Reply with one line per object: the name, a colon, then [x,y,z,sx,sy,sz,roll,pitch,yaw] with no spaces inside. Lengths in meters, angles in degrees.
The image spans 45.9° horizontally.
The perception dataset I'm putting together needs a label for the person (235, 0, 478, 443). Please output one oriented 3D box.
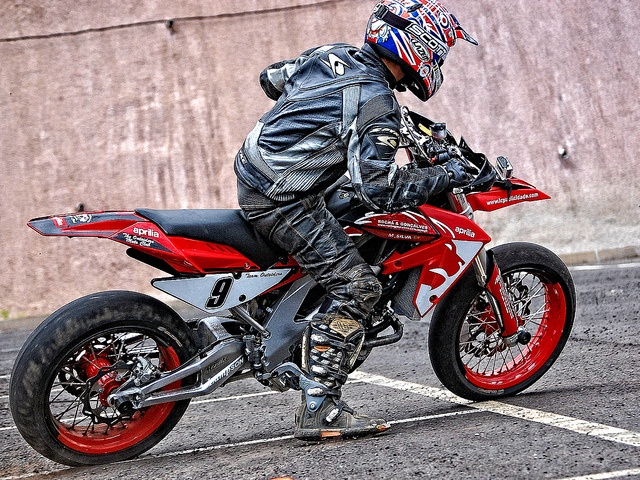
person: [0.295,-0.161,5.750,1.816,3.336,0.678,-13,11,-1]
